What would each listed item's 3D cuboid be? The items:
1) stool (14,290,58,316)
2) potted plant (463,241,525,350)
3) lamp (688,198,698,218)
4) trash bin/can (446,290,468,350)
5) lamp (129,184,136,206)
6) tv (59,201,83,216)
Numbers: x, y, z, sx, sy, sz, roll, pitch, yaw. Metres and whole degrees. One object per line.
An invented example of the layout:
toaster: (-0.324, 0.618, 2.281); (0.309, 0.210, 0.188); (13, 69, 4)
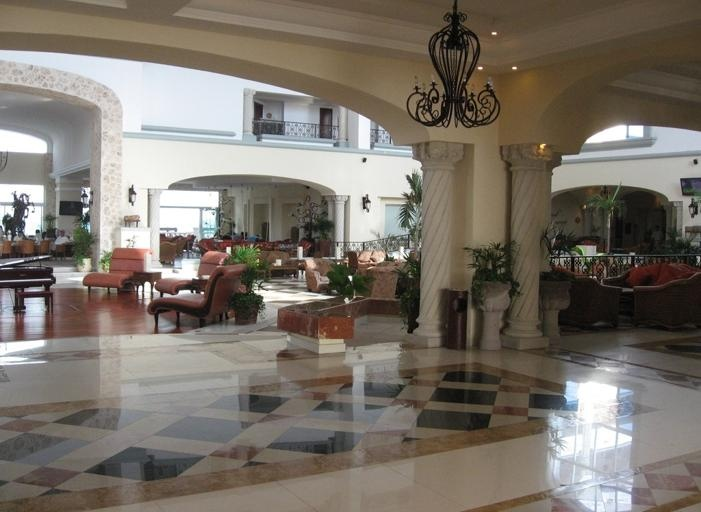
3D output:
stool: (-5.679, 0.757, 9.001); (0.598, 0.371, 0.776); (-1, 0, 32)
potted plant: (2.030, 0.552, 7.192); (0.785, 1.540, 0.513); (0, 3, -30)
lamp: (12.311, -1.748, 17.867); (0.308, 0.753, 0.223); (3, 3, 32)
trash bin/can: (1.517, 0.896, 7.089); (0.271, 0.830, 0.173); (2, 2, 6)
lamp: (-6.892, -1.939, 15.720); (0.254, 0.649, 0.335); (1, 2, -18)
tv: (-12.763, -2.182, 22.618); (0.809, 0.515, 0.107); (-1, 5, -26)
